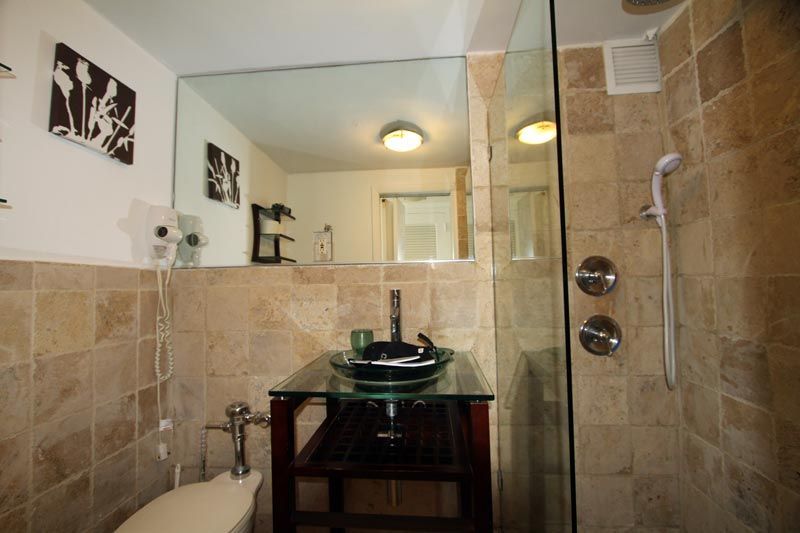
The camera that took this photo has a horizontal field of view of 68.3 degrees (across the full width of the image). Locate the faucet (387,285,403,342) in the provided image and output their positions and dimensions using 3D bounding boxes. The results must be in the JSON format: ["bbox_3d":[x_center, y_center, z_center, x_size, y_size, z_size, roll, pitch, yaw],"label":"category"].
[{"bbox_3d":[-0.023,0.241,3.029,0.065,0.260,0.151,-3,-3,-1],"label":"faucet"}]

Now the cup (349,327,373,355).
[{"bbox_3d":[-0.190,0.369,2.918,0.119,0.121,0.117,2,-2,0],"label":"cup"}]

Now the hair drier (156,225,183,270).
[{"bbox_3d":[-1.226,-0.104,3.127,0.131,0.205,0.085,4,30,-2],"label":"hair drier"}]

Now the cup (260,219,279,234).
[{"bbox_3d":[-0.706,-0.216,3.194,0.081,0.055,0.078,0,-2,0],"label":"cup"}]

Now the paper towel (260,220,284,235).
[{"bbox_3d":[-0.696,-0.213,3.194,0.087,0.053,0.080,0,-5,-13],"label":"paper towel"}]
